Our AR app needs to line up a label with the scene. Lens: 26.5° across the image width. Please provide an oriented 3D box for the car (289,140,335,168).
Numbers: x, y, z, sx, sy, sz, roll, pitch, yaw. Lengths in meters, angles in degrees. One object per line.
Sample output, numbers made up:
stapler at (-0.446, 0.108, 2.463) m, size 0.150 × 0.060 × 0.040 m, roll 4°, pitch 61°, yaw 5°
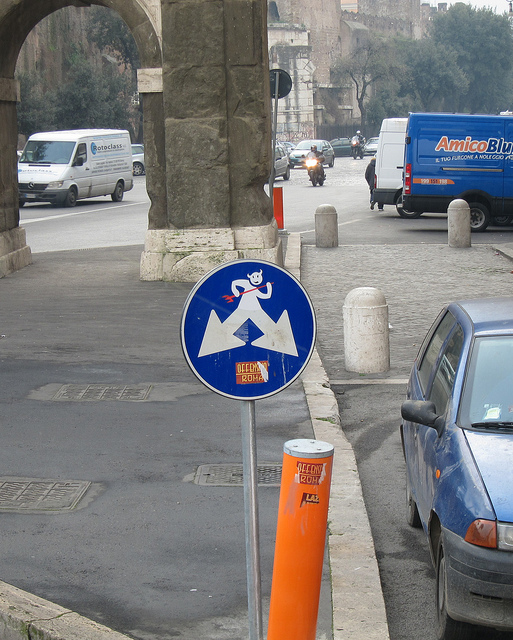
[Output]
car at (2.834, -8.726, 54.203) m, size 1.504 × 1.551 × 2.706 m, roll 2°, pitch 6°, yaw 17°

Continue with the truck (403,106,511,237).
truck at (4.087, -3.296, 22.627) m, size 2.356 × 2.159 × 1.700 m, roll -1°, pitch 10°, yaw 1°

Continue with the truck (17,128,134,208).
truck at (-5.253, -4.473, 32.390) m, size 1.754 × 2.343 × 4.066 m, roll 1°, pitch 4°, yaw 22°

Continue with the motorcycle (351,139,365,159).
motorcycle at (6.356, -10.803, 68.750) m, size 0.698 × 1.274 × 1.830 m, roll 0°, pitch 19°, yaw 11°

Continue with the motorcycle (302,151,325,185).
motorcycle at (2.088, -5.380, 39.650) m, size 0.575 × 1.068 × 1.192 m, roll -1°, pitch 18°, yaw 7°

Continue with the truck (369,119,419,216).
truck at (3.551, -4.015, 26.426) m, size 1.140 × 2.292 × 2.257 m, roll -17°, pitch 0°, yaw 12°

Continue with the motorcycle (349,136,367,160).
motorcycle at (6.376, -10.949, 68.845) m, size 0.786 × 1.349 × 1.918 m, roll 1°, pitch 6°, yaw 10°
